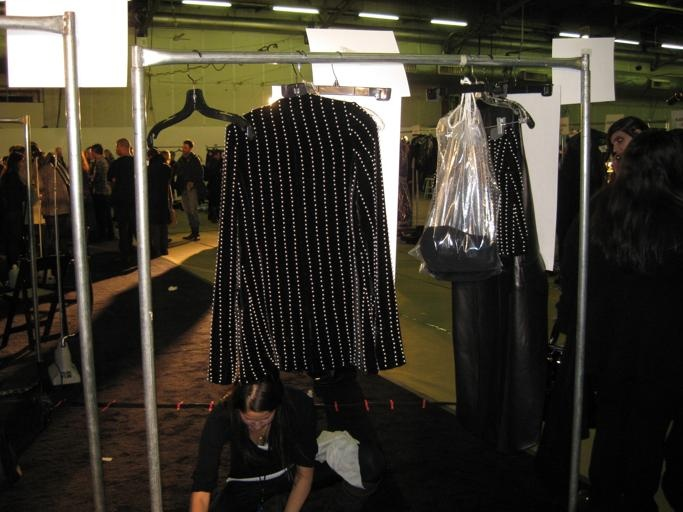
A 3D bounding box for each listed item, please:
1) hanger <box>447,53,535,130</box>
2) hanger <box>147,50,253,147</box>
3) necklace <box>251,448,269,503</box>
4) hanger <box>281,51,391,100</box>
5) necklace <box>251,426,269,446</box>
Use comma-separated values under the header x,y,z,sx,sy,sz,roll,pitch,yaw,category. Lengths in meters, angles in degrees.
x,y,z,sx,sy,sz,roll,pitch,yaw,category
0.707,-0.729,3.081,0.348,0.296,0.627,3,11,15,hanger
-0.663,-0.640,3.102,0.436,0.284,1.000,-2,11,-15,hanger
-0.381,1.031,3.184,0.149,0.229,0.077,0,-3,-7,necklace
-0.042,-0.799,3.123,0.624,0.164,0.236,-9,14,-42,hanger
-0.373,0.842,3.134,0.078,0.063,0.115,0,11,-8,necklace
